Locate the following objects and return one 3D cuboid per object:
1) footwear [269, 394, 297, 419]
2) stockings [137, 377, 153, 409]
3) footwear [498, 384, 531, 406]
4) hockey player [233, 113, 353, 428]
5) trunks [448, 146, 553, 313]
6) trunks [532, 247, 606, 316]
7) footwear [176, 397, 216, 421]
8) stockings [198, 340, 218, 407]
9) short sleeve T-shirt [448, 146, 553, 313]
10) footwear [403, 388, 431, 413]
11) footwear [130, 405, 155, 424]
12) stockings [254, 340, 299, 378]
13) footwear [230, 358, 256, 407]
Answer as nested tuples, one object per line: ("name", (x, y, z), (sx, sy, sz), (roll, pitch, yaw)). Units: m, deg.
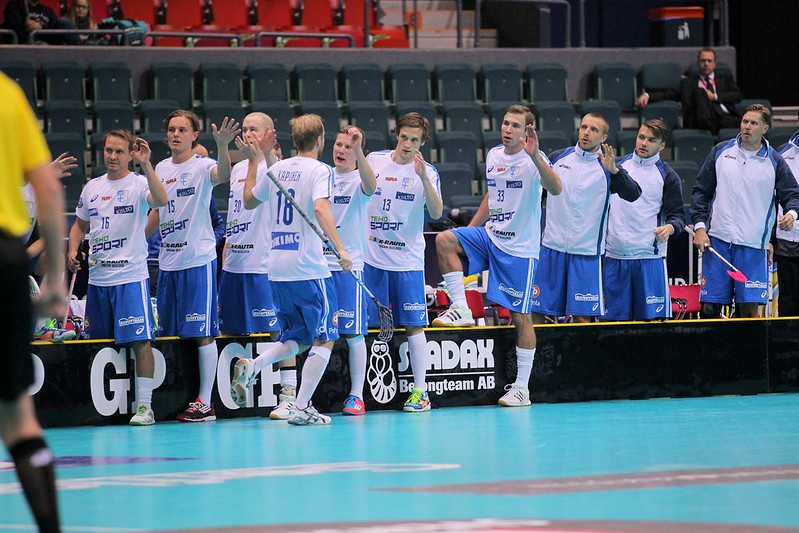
("footwear", (-1.109, 1.335, 11.155), (0.144, 0.192, 0.414), (-2, -8, 23))
("stockings", (-2.425, 1.169, 11.115), (0.160, 0.269, 0.206), (-4, 6, -15))
("footwear", (1.151, 1.280, 11.681), (0.162, 0.171, 0.353), (-5, -8, 39))
("hockey player", (-1.031, 0.038, 10.750), (1.091, 2.794, 1.184), (-4, 5, -7))
("trunks", (1.050, -0.352, 11.636), (0.860, 1.646, 0.537), (-3, 5, 4))
("trunks", (1.685, 0.203, 12.210), (0.814, 0.790, 0.454), (5, -26, 5))
("footwear", (-1.937, 1.377, 11.249), (0.396, 0.191, 0.166), (3, -6, -30))
("stockings", (-1.833, 1.016, 11.250), (0.276, 0.613, 0.132), (-7, 7, -38))
("short sleeve T-shirt", (1.050, -0.352, 11.636), (0.859, 1.646, 0.537), (-3, 5, 4))
("footwear", (0.178, 1.313, 11.496), (0.131, 0.168, 0.353), (-5, -14, 24))
("footwear", (-2.446, 1.380, 11.073), (0.229, 0.204, 0.269), (-4, 6, -13))
("stockings", (-1.119, 0.791, 10.509), (0.162, 0.228, 0.503), (1, 7, 36))
("footwear", (-1.429, 1.053, 10.666), (0.186, 0.517, 0.237), (2, 7, 35))
